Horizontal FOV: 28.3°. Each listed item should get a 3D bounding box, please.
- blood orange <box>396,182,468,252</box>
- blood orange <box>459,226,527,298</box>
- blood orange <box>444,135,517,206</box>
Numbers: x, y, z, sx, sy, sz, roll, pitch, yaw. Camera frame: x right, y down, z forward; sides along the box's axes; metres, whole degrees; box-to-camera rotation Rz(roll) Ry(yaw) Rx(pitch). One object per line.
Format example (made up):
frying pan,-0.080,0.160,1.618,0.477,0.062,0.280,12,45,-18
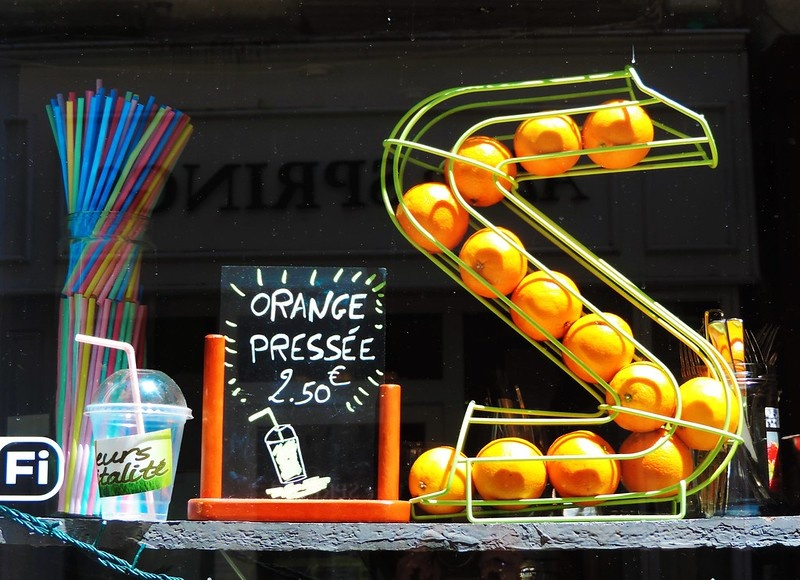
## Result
blood orange,0.063,-0.136,3.074,0.138,0.133,0.081,0,-13,-3
blood orange,0.179,-0.053,3.090,0.138,0.128,0.135,27,11,19
blood orange,0.157,-0.226,3.060,0.126,0.126,0.092,-2,-1,6
